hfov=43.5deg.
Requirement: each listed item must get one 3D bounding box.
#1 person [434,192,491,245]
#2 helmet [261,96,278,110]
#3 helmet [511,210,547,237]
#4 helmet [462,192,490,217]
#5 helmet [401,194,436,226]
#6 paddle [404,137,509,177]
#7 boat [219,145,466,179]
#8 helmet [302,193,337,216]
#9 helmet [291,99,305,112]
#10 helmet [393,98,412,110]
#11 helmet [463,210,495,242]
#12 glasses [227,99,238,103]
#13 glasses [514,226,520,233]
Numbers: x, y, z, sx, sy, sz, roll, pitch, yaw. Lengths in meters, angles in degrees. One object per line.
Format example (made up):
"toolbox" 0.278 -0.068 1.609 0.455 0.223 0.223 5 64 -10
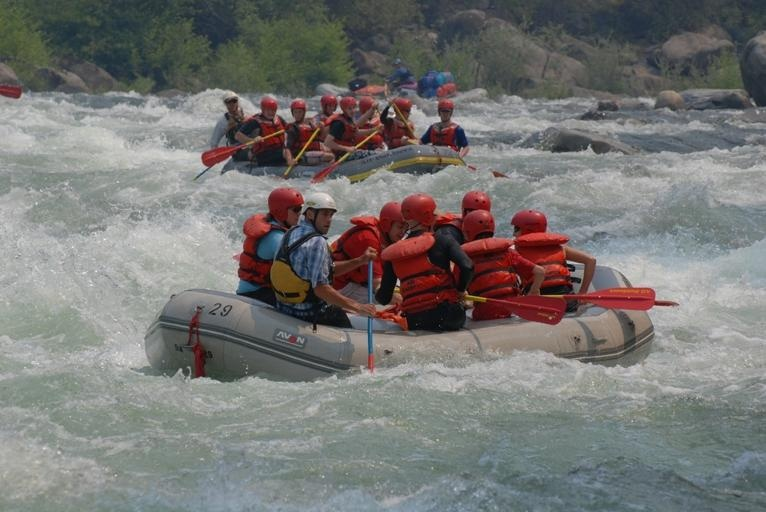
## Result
"person" 1.092 -0.588 13.629 0.961 0.621 0.647 4 -6 24
"helmet" -2.341 -3.166 19.800 0.283 0.320 0.421 -2 -3 -12
"helmet" 2.116 -0.473 14.003 0.505 0.330 0.347 -5 -6 10
"helmet" 1.368 -0.770 14.037 0.361 0.332 0.368 7 17 -9
"helmet" 0.519 -0.628 13.433 0.509 0.411 0.401 -18 21 -14
"paddle" 1.539 -2.160 20.301 1.870 0.348 1.066 21 10 34
"boat" -0.673 -1.840 19.897 3.649 0.494 1.662 -3 -5 6
"helmet" -0.897 -0.708 13.142 0.474 0.183 0.323 2 0 19
"helmet" -1.759 -3.121 19.856 0.273 0.248 0.357 0 14 30
"helmet" 0.443 -3.373 21.061 0.385 0.240 0.295 0 -22 8
"helmet" 1.343 -0.423 13.539 0.414 0.435 0.474 2 6 -20
"glasses" -3.193 -3.237 20.038 0.255 0.071 0.150 -2 -3 7
"glasses" 1.973 -0.385 13.990 0.081 0.050 0.110 1 -8 33
